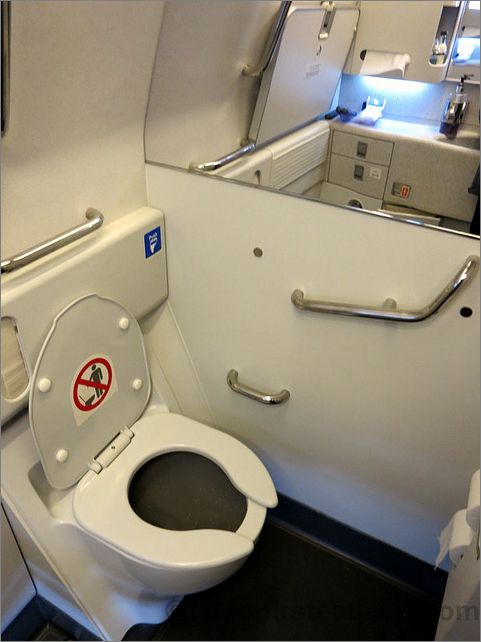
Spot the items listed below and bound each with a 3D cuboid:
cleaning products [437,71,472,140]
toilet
[{"bbox_3d":[0.370,-0.370,0.829,0.036,0.097,0.027,14,30,20],"label":"cleaning products"},{"bbox_3d":[-0.209,0.369,1.204,0.402,0.800,0.349,22,45,22],"label":"toilet"}]
